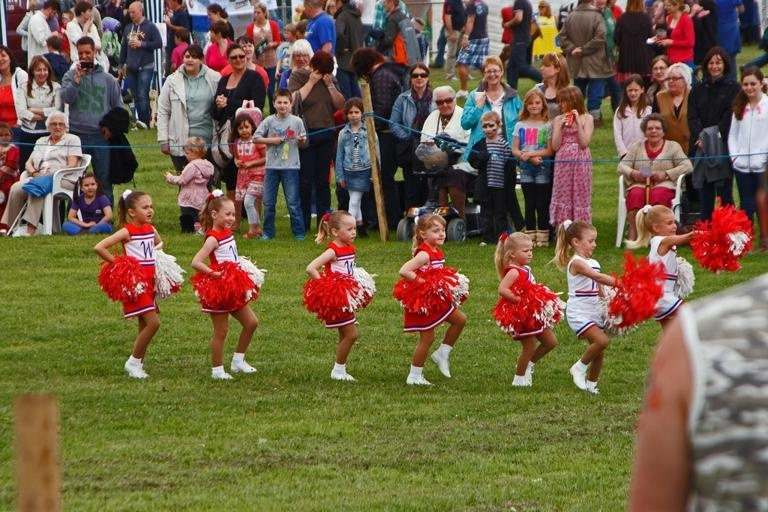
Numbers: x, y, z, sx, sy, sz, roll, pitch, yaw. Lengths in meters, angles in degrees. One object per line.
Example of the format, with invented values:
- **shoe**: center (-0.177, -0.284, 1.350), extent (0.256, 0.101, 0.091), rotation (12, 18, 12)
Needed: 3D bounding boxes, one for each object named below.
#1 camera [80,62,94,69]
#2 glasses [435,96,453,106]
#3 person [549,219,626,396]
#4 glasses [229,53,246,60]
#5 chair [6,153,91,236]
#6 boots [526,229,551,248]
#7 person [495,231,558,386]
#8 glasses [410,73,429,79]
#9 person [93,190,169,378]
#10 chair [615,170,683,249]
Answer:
- **camera**: center (-3.796, -2.436, 19.459), extent (0.060, 0.123, 0.215), rotation (-8, 11, -38)
- **glasses**: center (0.741, -1.902, 18.841), extent (0.211, 0.075, 0.148), rotation (2, 2, 3)
- **person**: center (1.991, 0.499, 15.358), extent (0.486, 1.249, 0.633), rotation (1, 1, -13)
- **glasses**: center (-1.888, -2.530, 19.459), extent (0.204, 0.087, 0.222), rotation (2, 2, -2)
- **chair**: center (-4.369, -0.826, 19.873), extent (0.944, 1.405, 1.024), rotation (8, 3, 44)
- **boots**: center (1.847, -0.212, 18.539), extent (0.211, 0.238, 0.261), rotation (7, 11, 38)
- **person**: center (1.439, 0.540, 15.377), extent (0.689, 1.085, 0.384), rotation (2, 1, 5)
- **glasses**: center (0.434, -2.265, 19.153), extent (0.205, 0.089, 0.095), rotation (2, 1, -7)
- **person**: center (-2.601, 0.280, 15.668), extent (0.599, 1.896, 0.518), rotation (1, 1, -9)
- **chair**: center (3.142, -0.561, 18.492), extent (0.900, 1.281, 0.832), rotation (1, 2, 22)
